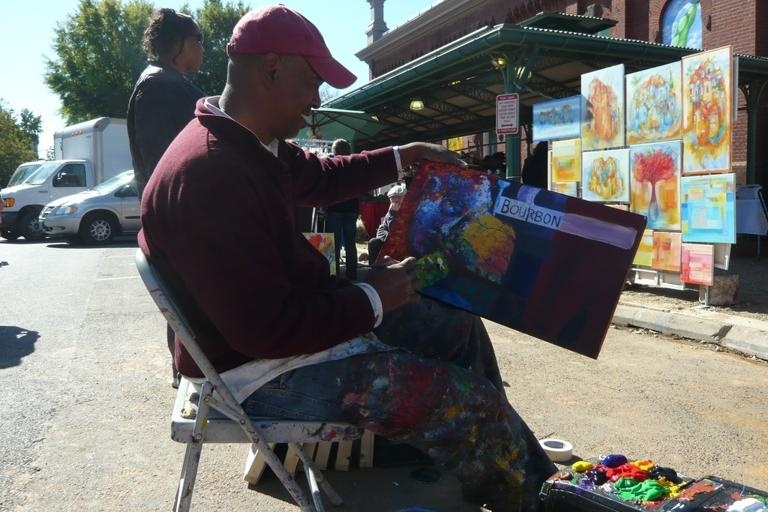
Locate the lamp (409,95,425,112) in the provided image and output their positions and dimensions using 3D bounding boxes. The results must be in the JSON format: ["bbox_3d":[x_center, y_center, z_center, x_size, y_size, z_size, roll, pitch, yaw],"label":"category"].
[{"bbox_3d":[0.872,-4.232,16.844,0.377,0.519,0.412,-2,6,6],"label":"lamp"}]
